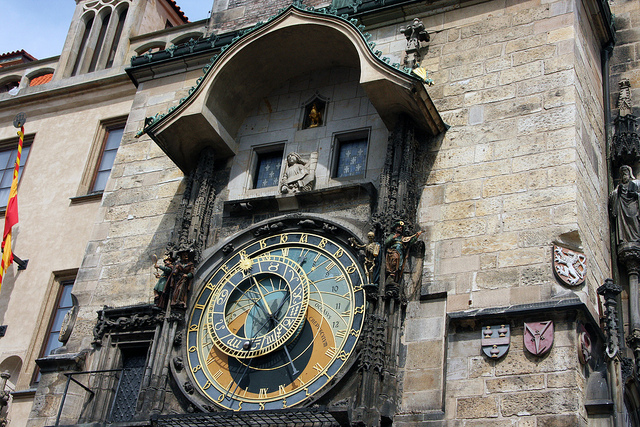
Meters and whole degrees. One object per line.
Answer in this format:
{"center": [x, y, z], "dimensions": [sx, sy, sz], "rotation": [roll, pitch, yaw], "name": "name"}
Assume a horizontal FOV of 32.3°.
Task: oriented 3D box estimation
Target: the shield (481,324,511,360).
{"center": [3.742, 2.761, 23.420], "dimensions": [0.831, 0.973, 0.175], "rotation": [-2, -40, 22], "name": "shield"}

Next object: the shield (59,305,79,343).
{"center": [-6.245, 2.725, 27.280], "dimensions": [0.423, 0.994, 0.240], "rotation": [-22, -37, 38], "name": "shield"}

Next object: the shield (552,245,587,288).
{"center": [5.376, 1.164, 23.849], "dimensions": [0.733, 0.923, 0.108], "rotation": [5, -29, -4], "name": "shield"}

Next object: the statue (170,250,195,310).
{"center": [-3.241, 1.509, 25.957], "dimensions": [0.486, 1.298, 0.344], "rotation": [7, -6, 3], "name": "statue"}
